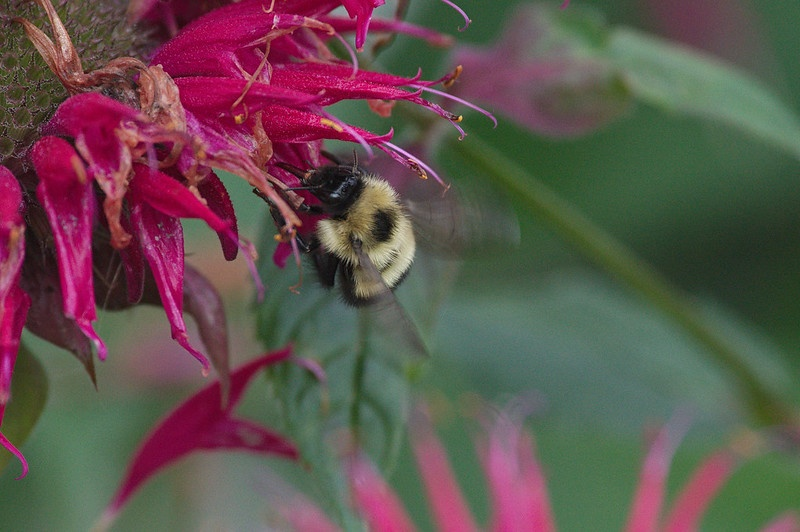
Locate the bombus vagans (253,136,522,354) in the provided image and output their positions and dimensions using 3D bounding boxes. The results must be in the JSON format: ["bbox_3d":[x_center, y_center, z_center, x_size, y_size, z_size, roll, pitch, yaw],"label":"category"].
[{"bbox_3d":[-0.051,-0.008,1.197,0.213,0.244,0.097,29,64,23],"label":"bombus vagans"}]
